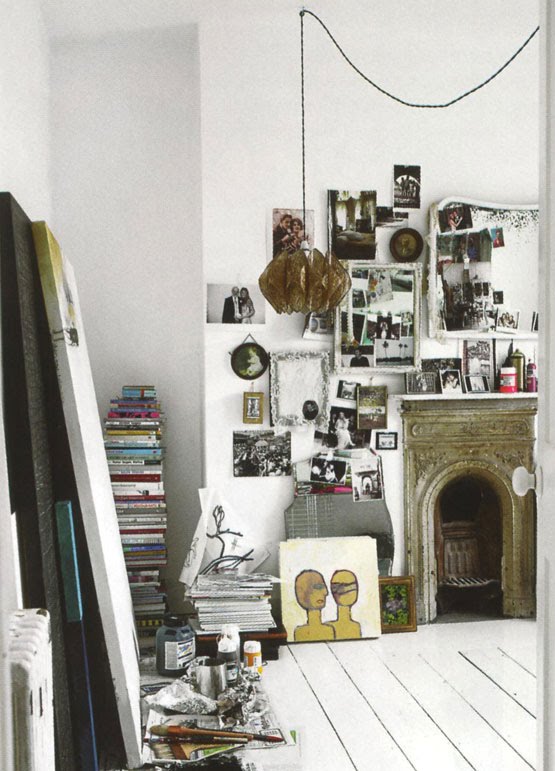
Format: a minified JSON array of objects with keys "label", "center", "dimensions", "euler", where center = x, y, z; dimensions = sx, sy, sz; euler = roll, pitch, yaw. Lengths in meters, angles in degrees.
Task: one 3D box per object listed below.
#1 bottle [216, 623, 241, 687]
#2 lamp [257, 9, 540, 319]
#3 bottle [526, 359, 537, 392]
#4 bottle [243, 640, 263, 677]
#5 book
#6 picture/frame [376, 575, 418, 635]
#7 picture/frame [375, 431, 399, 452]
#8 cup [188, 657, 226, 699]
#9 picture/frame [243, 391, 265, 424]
[{"label":"bottle","center":[-0.229,1.183,4.067],"dimensions":[0.118,0.261,0.234],"euler":[-3,-9,-8]},{"label":"lamp","center":[0.557,-1.162,4.820],"dimensions":[1.484,1.776,0.479],"euler":[0,1,-8]},{"label":"bottle","center":[1.348,-0.044,5.017],"dimensions":[0.055,0.154,0.072],"euler":[4,5,15]},{"label":"bottle","center":[-0.107,1.199,4.170],"dimensions":[0.087,0.160,0.288],"euler":[3,5,-1]},{"label":"book","center":[-0.532,0.534,4.514],"dimensions":[1.011,1.074,0.238],"euler":[-2,-1,-37]},{"label":"picture/frame","center":[0.601,1.124,4.781],"dimensions":[0.247,0.285,0.021],"euler":[0,-5,-17]},{"label":"picture/frame","center":[0.564,0.290,4.922],"dimensions":[0.089,0.092,0.013],"euler":[-1,-2,-6]},{"label":"cup","center":[-0.276,1.172,3.783],"dimensions":[0.142,0.167,0.099],"euler":[-1,0,3]},{"label":"picture/frame","center":[-0.126,0.112,4.768],"dimensions":[0.135,0.246,0.029],"euler":[1,1,-2]}]
